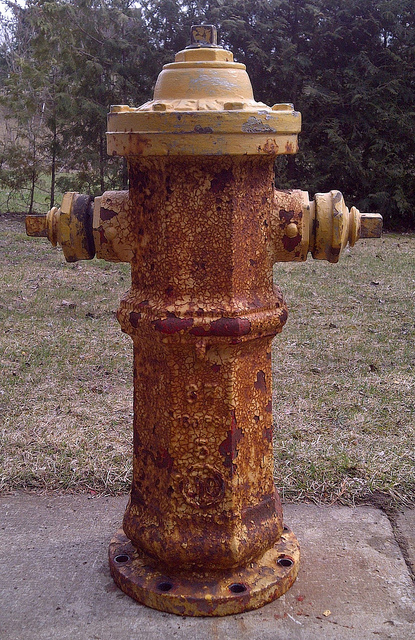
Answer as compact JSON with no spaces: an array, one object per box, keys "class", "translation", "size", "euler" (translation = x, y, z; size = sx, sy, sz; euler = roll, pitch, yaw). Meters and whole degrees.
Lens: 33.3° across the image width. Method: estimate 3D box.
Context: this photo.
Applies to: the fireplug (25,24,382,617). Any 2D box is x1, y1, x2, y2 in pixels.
[{"class":"fireplug","translation":[-0.026,-0.002,2.061],"size":[0.890,1.690,0.485],"euler":[5,8,9]}]
